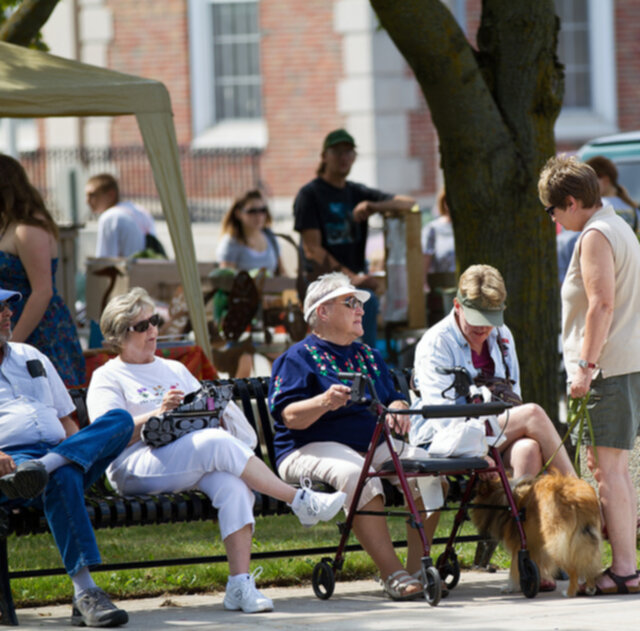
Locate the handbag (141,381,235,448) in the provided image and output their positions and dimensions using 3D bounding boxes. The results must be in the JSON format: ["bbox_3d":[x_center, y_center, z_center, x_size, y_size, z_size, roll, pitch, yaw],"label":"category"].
[{"bbox_3d":[-0.773,0.604,11.936,0.400,0.185,0.417,-31,0,-1],"label":"handbag"}]

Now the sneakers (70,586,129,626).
[{"bbox_3d":[-1.254,1.668,11.499,0.352,0.199,0.156,-6,-6,38],"label":"sneakers"}]

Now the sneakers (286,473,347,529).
[{"bbox_3d":[-0.012,1.124,11.882,0.401,0.172,0.303,-20,-44,20],"label":"sneakers"}]

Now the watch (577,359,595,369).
[{"bbox_3d":[1.588,0.295,11.897,0.060,0.025,0.061,13,-3,45],"label":"watch"}]

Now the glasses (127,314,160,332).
[{"bbox_3d":[-1.043,0.060,12.121,0.124,0.044,0.114,-6,17,43],"label":"glasses"}]

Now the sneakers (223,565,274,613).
[{"bbox_3d":[-0.417,1.640,11.869,0.373,0.296,0.141,-2,-3,30],"label":"sneakers"}]

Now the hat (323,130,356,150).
[{"bbox_3d":[0.136,-1.306,15.019,0.204,0.157,0.327,-3,-4,-8],"label":"hat"}]

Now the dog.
[{"bbox_3d":[1.295,1.304,12.030,0.861,0.747,0.396,2,6,35],"label":"dog"}]
